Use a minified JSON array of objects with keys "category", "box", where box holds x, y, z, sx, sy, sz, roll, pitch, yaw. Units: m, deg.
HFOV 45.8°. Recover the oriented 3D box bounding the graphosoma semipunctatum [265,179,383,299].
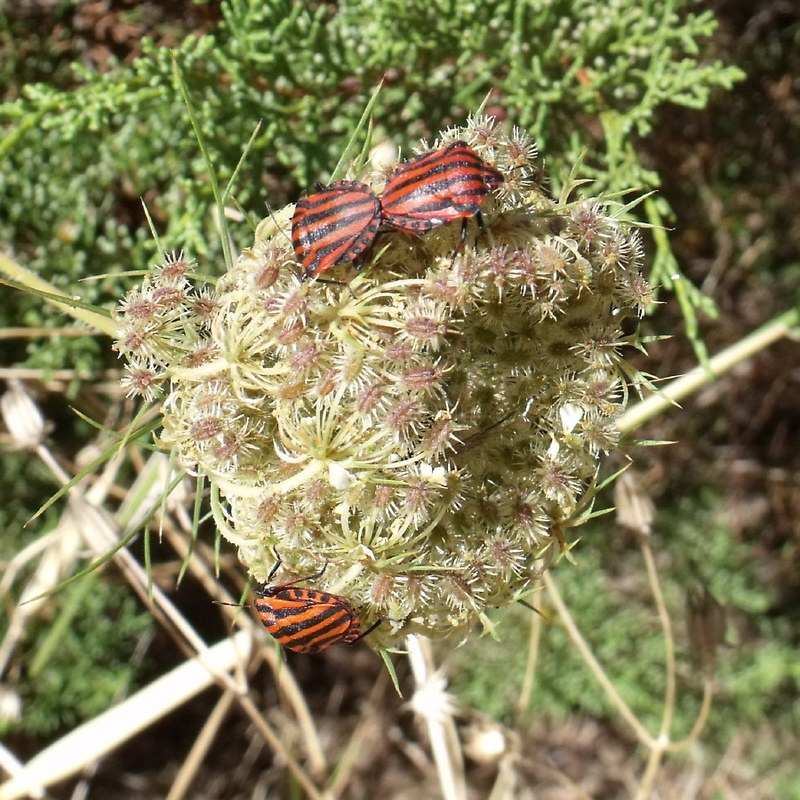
[{"category":"graphosoma semipunctatum","box":[-0.212,-0.566,3.044,0.323,0.089,0.274,-26,83,-5]}]
